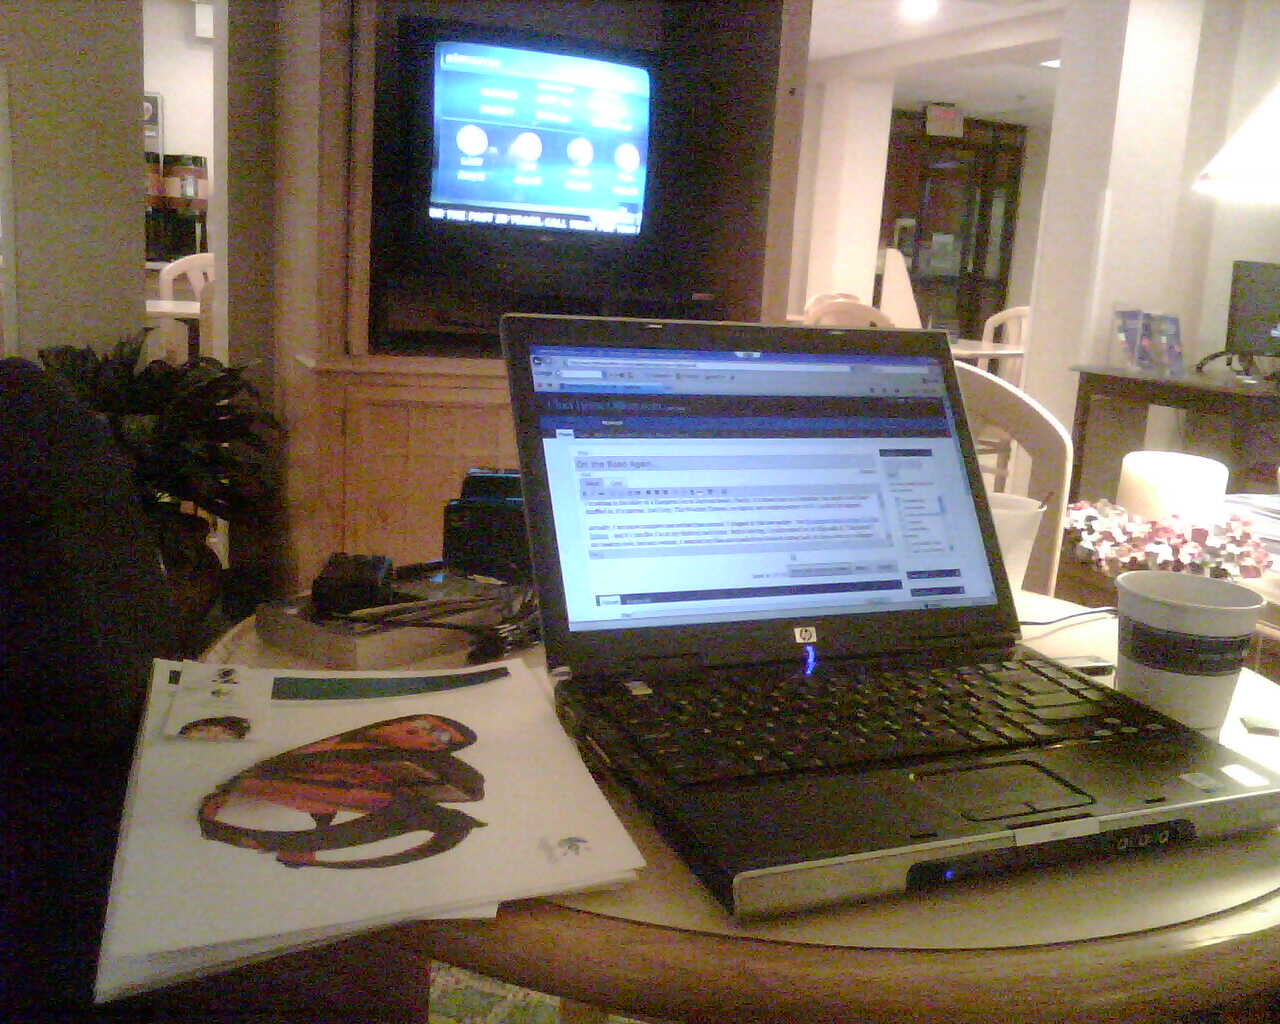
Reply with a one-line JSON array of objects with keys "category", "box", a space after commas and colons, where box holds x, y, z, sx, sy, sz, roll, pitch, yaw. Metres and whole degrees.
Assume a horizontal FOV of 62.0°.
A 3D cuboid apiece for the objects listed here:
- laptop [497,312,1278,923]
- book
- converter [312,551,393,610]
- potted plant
[{"category": "laptop", "box": [0.113, 0.038, 0.766, 0.459, 0.254, 0.448, -4, 15, -22]}, {"category": "book", "box": [-0.156, 0.165, 0.596, 0.221, 0.039, 0.190, -2, 22, -23]}, {"category": "converter", "box": [-0.249, 0.055, 0.936, 0.062, 0.032, 0.050, 5, 18, 9]}, {"category": "potted plant", "box": [-0.949, -0.012, 2.416, 0.817, 0.607, 0.740, 2, -4, -25]}]
